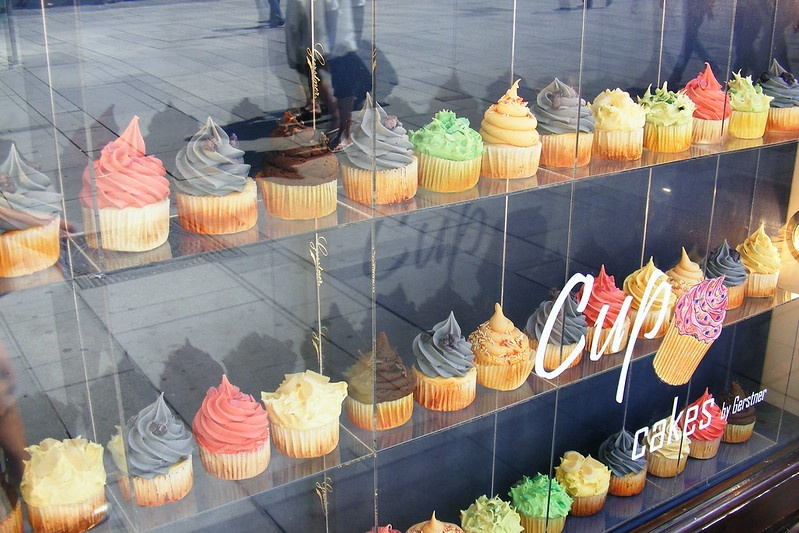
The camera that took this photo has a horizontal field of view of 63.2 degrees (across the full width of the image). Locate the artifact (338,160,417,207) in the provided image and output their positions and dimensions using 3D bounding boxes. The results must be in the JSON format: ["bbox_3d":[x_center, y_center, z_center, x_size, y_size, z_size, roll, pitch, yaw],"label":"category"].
[{"bbox_3d":[-0.057,-0.241,1.932,0.171,0.069,0.181,0,21,-1],"label":"artifact"}]

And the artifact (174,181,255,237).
[{"bbox_3d":[-0.475,-0.152,1.698,0.190,0.083,0.180,-6,13,-28],"label":"artifact"}]

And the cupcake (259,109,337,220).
[{"bbox_3d":[-0.276,-0.275,1.761,0.227,0.259,0.233,20,28,29],"label":"cupcake"}]

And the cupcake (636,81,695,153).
[{"bbox_3d":[0.992,-0.601,2.576,0.243,0.281,0.264,-1,28,0],"label":"cupcake"}]

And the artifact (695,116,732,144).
[{"bbox_3d":[1.261,-0.548,2.604,0.120,0.069,0.115,0,31,-1],"label":"artifact"}]

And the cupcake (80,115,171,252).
[{"bbox_3d":[-0.655,-0.205,1.525,0.209,0.294,0.203,-19,41,-42],"label":"cupcake"}]

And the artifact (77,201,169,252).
[{"bbox_3d":[-0.656,-0.115,1.548,0.149,0.083,0.139,11,18,37],"label":"artifact"}]

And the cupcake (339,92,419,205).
[{"bbox_3d":[-0.067,-0.336,1.901,0.257,0.313,0.251,-14,38,-16],"label":"cupcake"}]

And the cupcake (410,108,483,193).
[{"bbox_3d":[0.156,-0.374,2.175,0.301,0.202,0.291,-10,24,-21],"label":"cupcake"}]

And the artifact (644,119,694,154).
[{"bbox_3d":[1.047,-0.492,2.498,0.157,0.090,0.150,-5,22,-2],"label":"artifact"}]

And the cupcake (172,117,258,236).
[{"bbox_3d":[-0.490,-0.243,1.671,0.205,0.279,0.218,-17,6,-33],"label":"cupcake"}]

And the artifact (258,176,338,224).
[{"bbox_3d":[-0.213,-0.186,1.834,0.245,0.096,0.271,4,7,26],"label":"artifact"}]

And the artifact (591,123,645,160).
[{"bbox_3d":[0.807,-0.448,2.340,0.144,0.082,0.137,0,24,5],"label":"artifact"}]
